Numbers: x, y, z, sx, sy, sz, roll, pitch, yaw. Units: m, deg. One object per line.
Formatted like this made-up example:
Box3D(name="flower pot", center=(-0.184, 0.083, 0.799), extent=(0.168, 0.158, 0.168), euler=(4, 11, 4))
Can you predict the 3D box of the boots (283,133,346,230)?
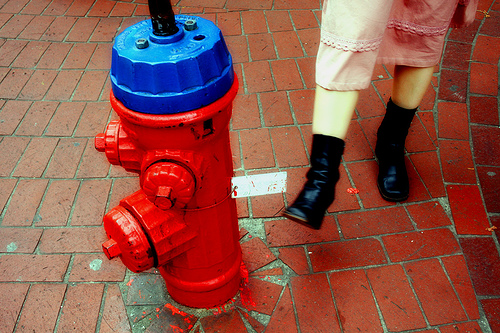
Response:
Box3D(name="boots", center=(0.383, 0.149, 2.710), extent=(0.247, 0.620, 0.453), euler=(14, 58, 12))
